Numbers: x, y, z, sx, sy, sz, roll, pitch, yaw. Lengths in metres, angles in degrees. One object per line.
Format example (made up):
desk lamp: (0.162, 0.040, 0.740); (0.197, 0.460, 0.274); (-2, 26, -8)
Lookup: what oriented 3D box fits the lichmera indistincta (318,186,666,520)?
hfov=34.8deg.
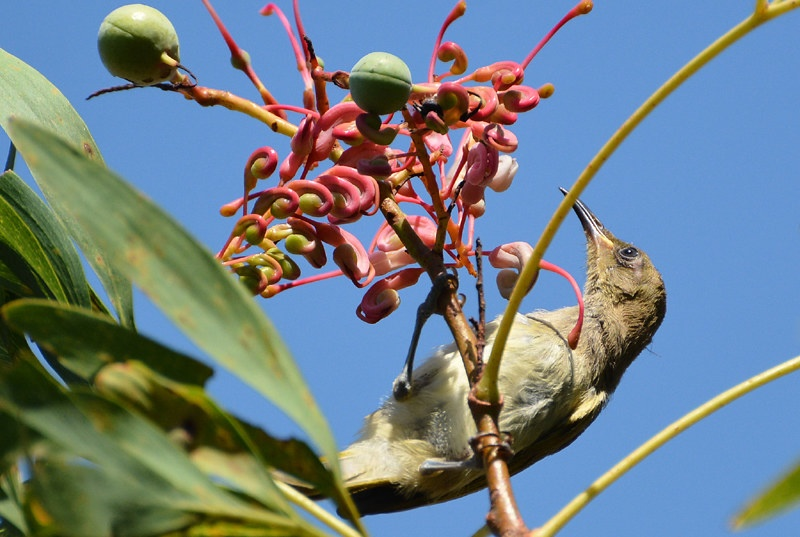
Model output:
lichmera indistincta: (0.258, 0.386, 4.903); (1.391, 1.628, 0.567); (4, -27, 13)
